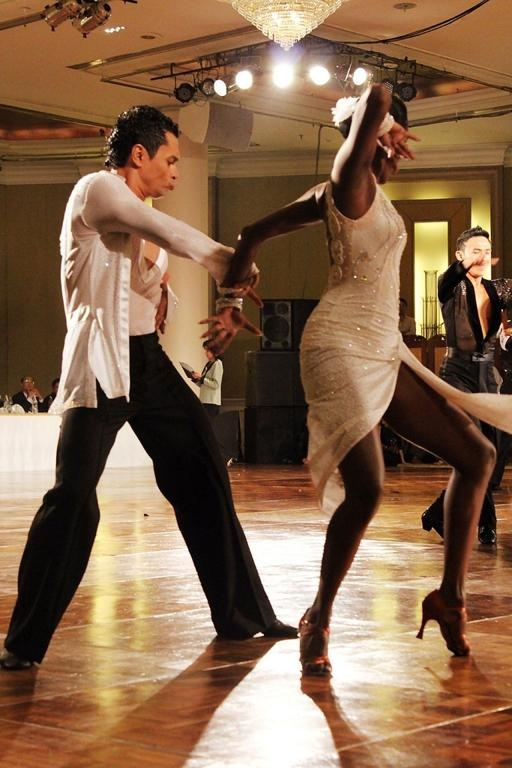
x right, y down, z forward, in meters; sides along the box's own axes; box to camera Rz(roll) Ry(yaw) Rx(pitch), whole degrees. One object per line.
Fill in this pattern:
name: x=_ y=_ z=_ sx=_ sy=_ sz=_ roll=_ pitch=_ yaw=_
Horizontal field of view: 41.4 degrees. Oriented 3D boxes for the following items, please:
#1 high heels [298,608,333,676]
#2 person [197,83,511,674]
high heels: x=0.144 y=0.623 z=1.659 sx=0.066 sy=0.081 sz=0.191 roll=21 pitch=8 yaw=-8
person: x=0.249 y=0.039 z=1.725 sx=0.658 sy=1.319 sz=0.675 roll=-10 pitch=-14 yaw=41
